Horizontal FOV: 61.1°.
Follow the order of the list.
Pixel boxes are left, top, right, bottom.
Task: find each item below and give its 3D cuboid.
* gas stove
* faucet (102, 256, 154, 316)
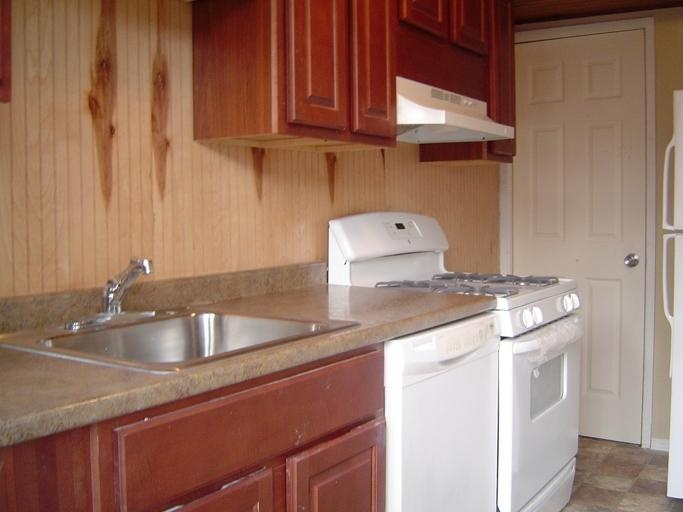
[{"bbox_3d":[0.609,0.190,2.449,0.544,0.192,0.801,2,4,41],"label":"gas stove"},{"bbox_3d":[-0.574,0.077,1.630,0.259,0.116,0.079,-21,-11,41],"label":"faucet"}]
